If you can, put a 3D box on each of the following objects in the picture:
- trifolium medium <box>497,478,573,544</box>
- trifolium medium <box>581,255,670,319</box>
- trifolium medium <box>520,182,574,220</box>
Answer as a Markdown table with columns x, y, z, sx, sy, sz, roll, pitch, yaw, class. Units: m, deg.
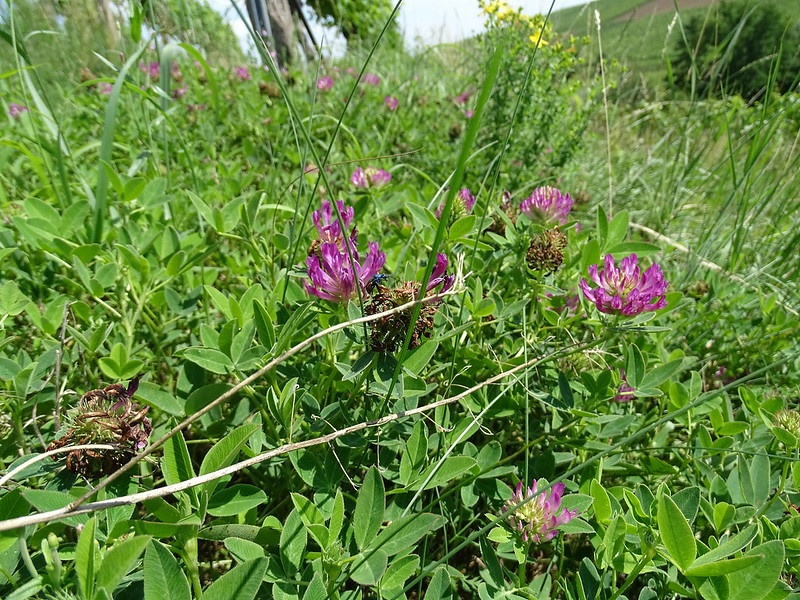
| x | y | z | sx | sy | sz | roll | pitch | yaw | class |
| --- | --- | --- | --- | --- | --- | --- | --- | --- | --- |
| 0.420 | 0.708 | 2.419 | 0.260 | 0.150 | 0.251 | 3 | 0 | 23 | trifolium medium |
| 0.848 | -0.081 | 2.730 | 0.330 | 0.214 | 0.333 | 4 | -2 | 32 | trifolium medium |
| 0.636 | -0.437 | 3.121 | 0.144 | 0.178 | 0.161 | 2 | 20 | 11 | trifolium medium |
